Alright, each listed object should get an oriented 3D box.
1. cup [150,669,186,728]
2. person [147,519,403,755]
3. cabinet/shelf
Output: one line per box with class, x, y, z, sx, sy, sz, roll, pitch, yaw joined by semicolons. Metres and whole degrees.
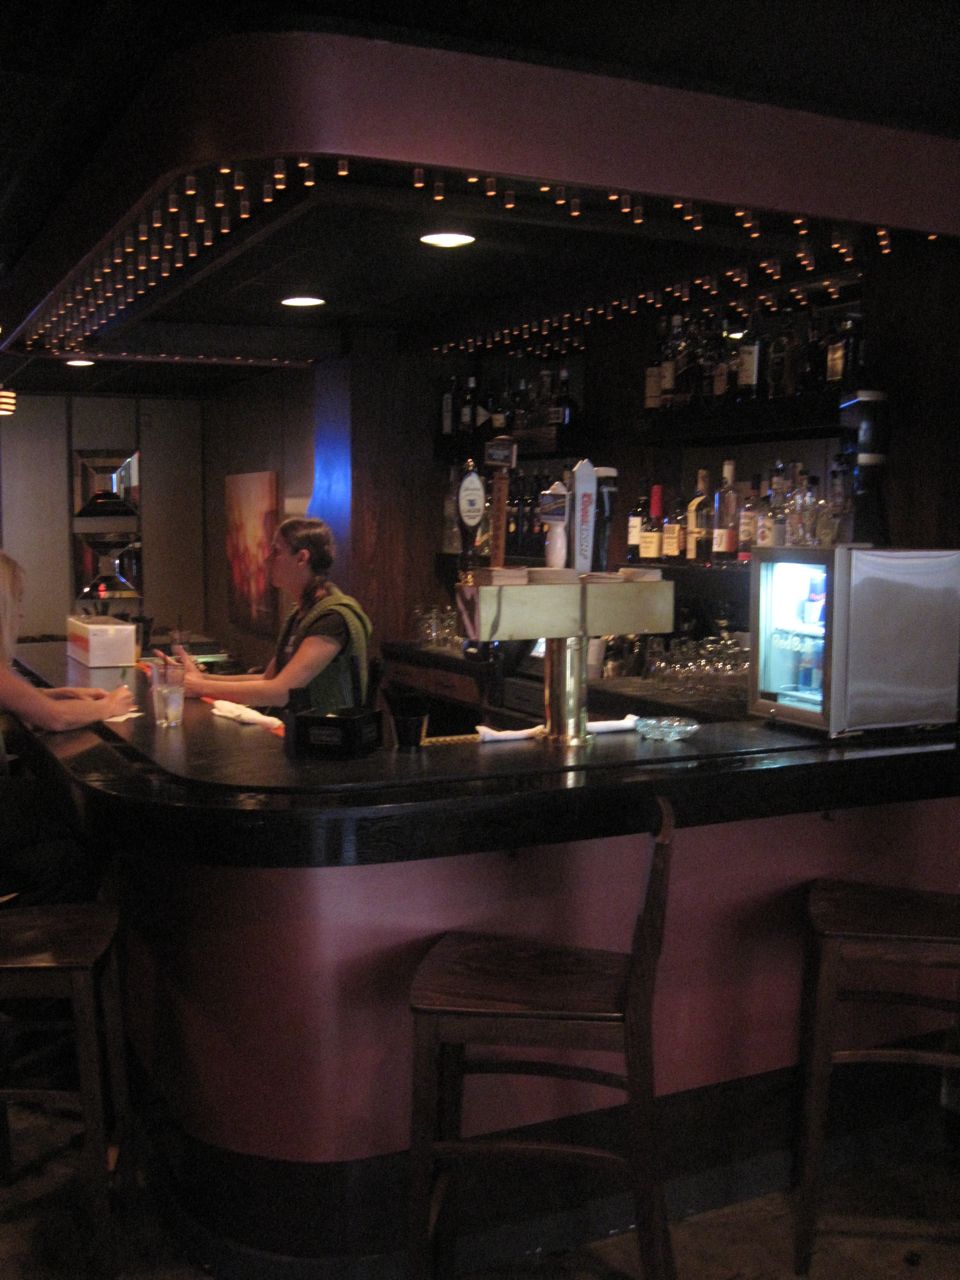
cup;-0.800;0.148;2.927;0.069;0.139;0.188;0;6;-15
person;-0.632;0.154;3.586;0.665;1.009;0.495;1;-1;-7
cabinet/shelf;0.591;-0.705;4.529;0.282;0.986;2.197;10;0;-34
